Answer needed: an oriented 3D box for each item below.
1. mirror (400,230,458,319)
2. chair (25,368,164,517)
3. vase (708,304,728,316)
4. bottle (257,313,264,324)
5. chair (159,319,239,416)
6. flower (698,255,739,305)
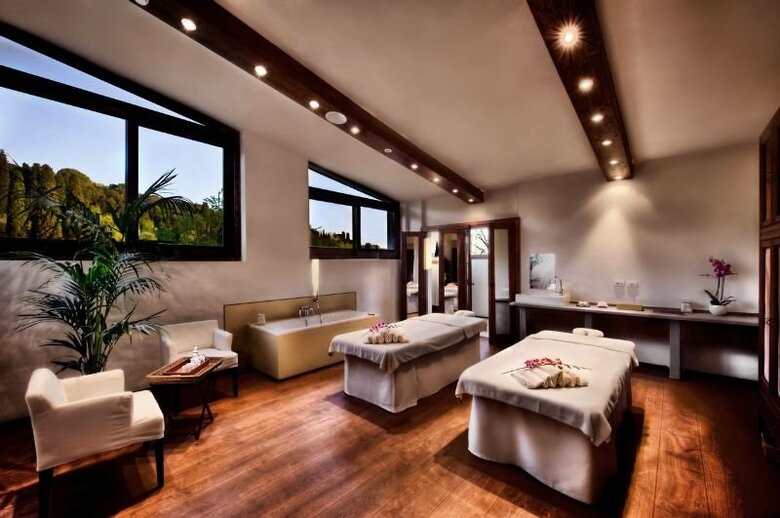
[{"bbox_3d":[0.830,0.296,9.228,1.361,1.537,1.142,-1,0,22],"label":"mirror"},{"bbox_3d":[-3.050,1.638,5.273,1.456,1.631,1.213,-1,2,-29],"label":"chair"},{"bbox_3d":[4.312,0.662,6.298,0.153,0.112,0.160,-1,-2,23],"label":"vase"},{"bbox_3d":[-1.896,0.874,7.040,0.102,0.152,0.148,0,-7,-2],"label":"bottle"},{"bbox_3d":[-2.442,1.328,6.149,0.756,0.962,0.711,-6,9,-41],"label":"chair"},{"bbox_3d":[4.449,0.243,6.631,0.619,0.879,0.501,1,3,44],"label":"flower"}]
